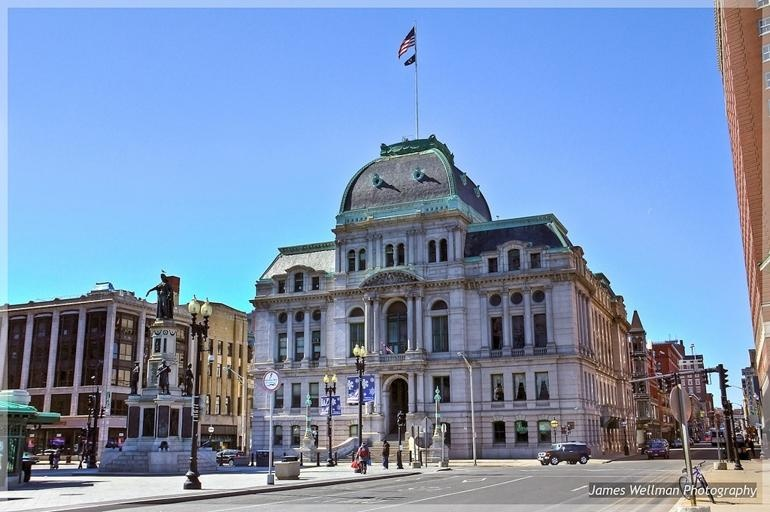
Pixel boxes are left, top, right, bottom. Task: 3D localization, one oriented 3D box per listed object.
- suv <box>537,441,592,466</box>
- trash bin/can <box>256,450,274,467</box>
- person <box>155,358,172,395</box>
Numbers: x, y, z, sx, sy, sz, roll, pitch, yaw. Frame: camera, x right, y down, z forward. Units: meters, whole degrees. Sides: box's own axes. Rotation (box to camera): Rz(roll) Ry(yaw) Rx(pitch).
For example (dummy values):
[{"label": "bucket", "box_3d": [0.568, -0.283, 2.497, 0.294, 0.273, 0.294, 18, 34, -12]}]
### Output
[{"label": "suv", "box_3d": [17.631, 19.490, 70.663, 4.365, 1.718, 2.191, 3, -16, -4]}, {"label": "trash bin/can", "box_3d": [-11.649, 19.183, 67.669, 1.070, 1.386, 1.451, 2, -19, -15]}, {"label": "person", "box_3d": [-17.852, 9.675, 57.771, 0.914, 2.780, 1.123, 0, -19, -11]}]
